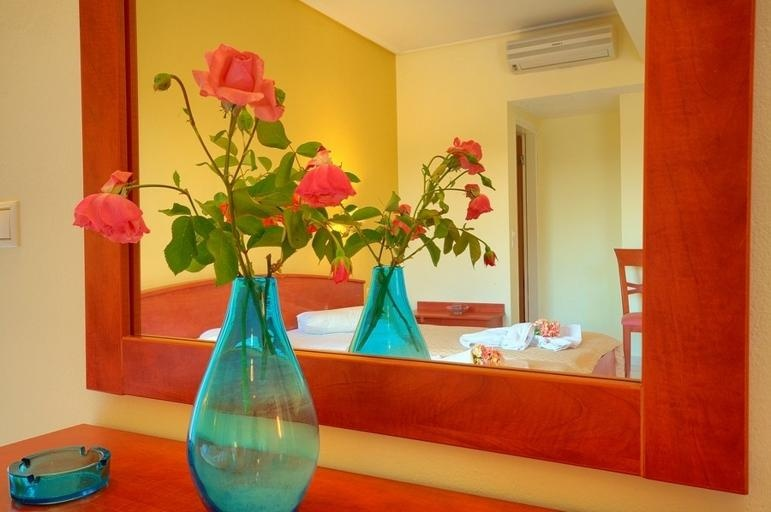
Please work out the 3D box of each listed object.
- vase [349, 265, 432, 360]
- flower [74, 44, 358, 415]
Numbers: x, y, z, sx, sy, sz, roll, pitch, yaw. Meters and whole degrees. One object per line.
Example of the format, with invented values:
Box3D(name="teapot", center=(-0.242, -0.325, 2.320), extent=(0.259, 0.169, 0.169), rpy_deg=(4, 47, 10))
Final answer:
Box3D(name="vase", center=(0.041, 0.101, 1.140), extent=(0.152, 0.170, 0.161), rpy_deg=(-1, -2, 32))
Box3D(name="flower", center=(-0.278, -0.062, 1.022), extent=(0.283, 0.552, 0.507), rpy_deg=(6, 13, 37))
